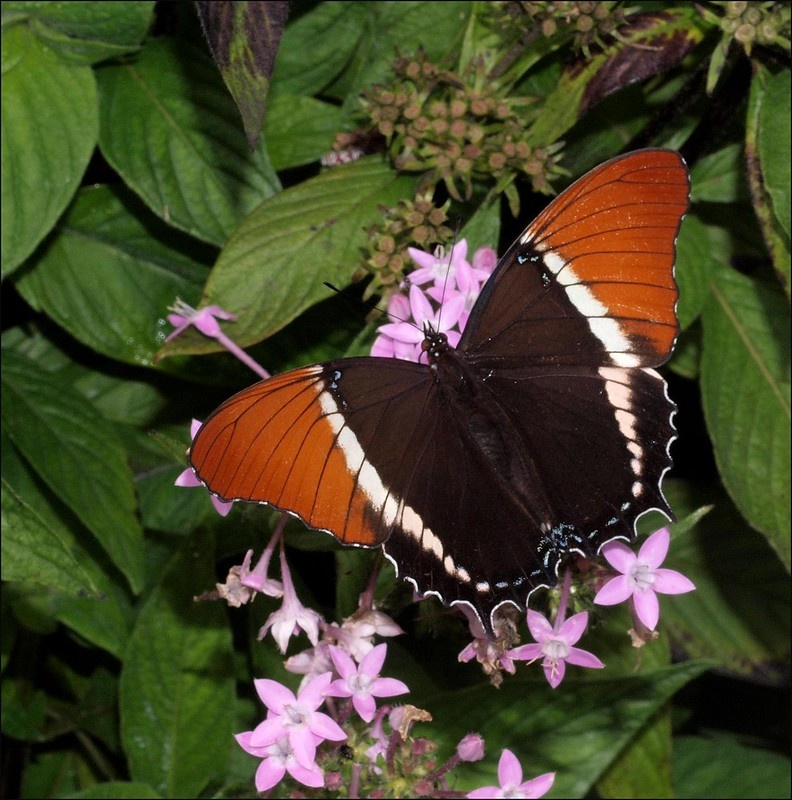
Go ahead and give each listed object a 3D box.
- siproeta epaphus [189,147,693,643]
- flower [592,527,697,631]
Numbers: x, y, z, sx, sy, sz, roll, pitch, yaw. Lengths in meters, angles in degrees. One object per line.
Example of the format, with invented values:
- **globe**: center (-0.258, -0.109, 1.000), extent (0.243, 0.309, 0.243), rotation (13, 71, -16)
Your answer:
- **siproeta epaphus**: center (0.143, 0.051, 1.820), extent (1.156, 0.596, 0.203), rotation (-29, -5, 21)
- **flower**: center (0.413, 0.297, 1.734), extent (0.204, 0.169, 0.074), rotation (19, -10, 5)
